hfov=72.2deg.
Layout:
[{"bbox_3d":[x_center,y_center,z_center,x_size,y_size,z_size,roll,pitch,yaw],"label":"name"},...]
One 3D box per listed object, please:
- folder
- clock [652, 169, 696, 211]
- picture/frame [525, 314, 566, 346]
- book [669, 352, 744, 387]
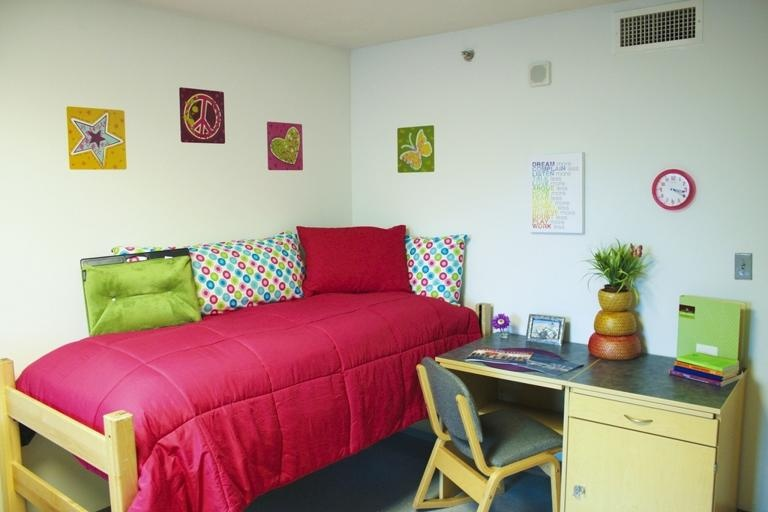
[{"bbox_3d":[1.997,0.427,3.214,0.146,0.391,0.353,-20,16,-37],"label":"folder"},{"bbox_3d":[1.809,-0.407,3.291,0.235,0.244,0.240,3,4,32],"label":"clock"},{"bbox_3d":[1.117,0.509,3.619,0.195,0.168,0.019,2,-7,34],"label":"picture/frame"},{"bbox_3d":[1.818,0.635,3.000,0.213,0.067,0.216,5,6,43],"label":"book"}]
